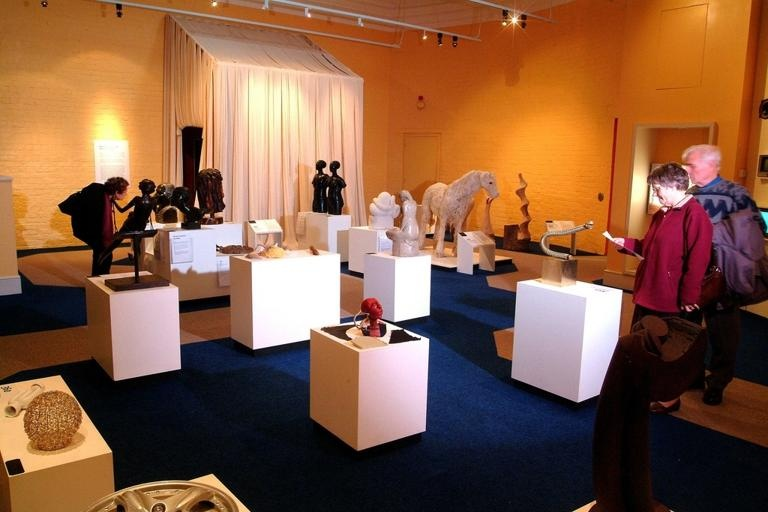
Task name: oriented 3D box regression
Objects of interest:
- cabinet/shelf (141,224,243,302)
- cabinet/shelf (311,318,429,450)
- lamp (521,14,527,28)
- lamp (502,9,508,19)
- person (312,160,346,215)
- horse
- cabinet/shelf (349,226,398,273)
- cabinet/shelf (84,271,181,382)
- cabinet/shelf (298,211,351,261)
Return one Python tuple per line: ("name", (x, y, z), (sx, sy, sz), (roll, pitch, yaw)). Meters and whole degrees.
("cabinet/shelf", (-2.659, 0.025, 7.606), (1.134, 0.912, 1.173), (-3, 8, -33))
("cabinet/shelf", (-0.161, 0.959, 4.662), (0.915, 1.005, 0.915), (-3, 8, -32))
("lamp", (3.124, -5.305, 12.163), (0.184, 0.270, 0.341), (4, 15, 13))
("lamp", (2.680, -5.356, 11.925), (0.085, 0.213, 0.599), (5, 16, 16))
("person", (-1.076, -1.304, 10.251), (0.738, 0.988, 0.395), (11, 17, 34))
("horse", (1.337, -0.855, 10.560), (0.614, 1.712, 2.159), (2, 8, -31))
("cabinet/shelf", (-0.245, -0.087, 9.446), (0.757, 0.826, 0.751), (-4, 9, -35))
("cabinet/shelf", (-2.576, 0.635, 5.647), (0.871, 1.203, 1.253), (-5, 12, -38))
("cabinet/shelf", (-1.007, -0.350, 9.349), (0.438, 0.782, 0.800), (-7, 12, -42))
